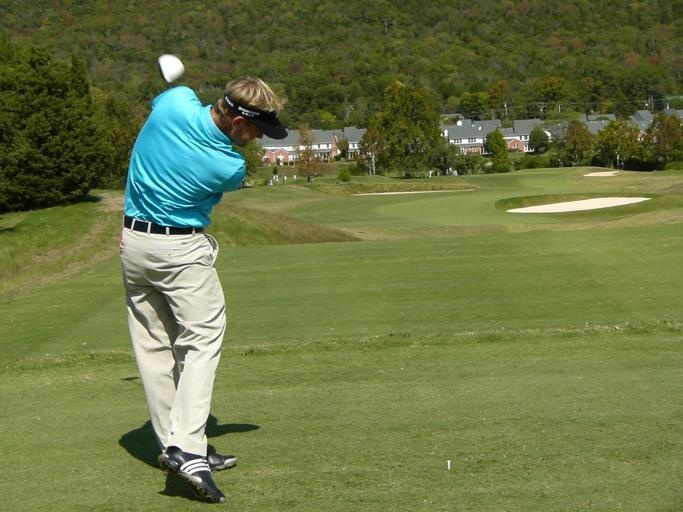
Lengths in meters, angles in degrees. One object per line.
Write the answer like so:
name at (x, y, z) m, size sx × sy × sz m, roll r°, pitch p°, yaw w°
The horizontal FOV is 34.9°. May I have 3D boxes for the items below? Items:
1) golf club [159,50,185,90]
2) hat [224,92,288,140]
golf club at (-2.947, -3.219, 18.604) m, size 0.390 × 0.519 × 0.185 m, roll -38°, pitch -8°, yaw -17°
hat at (-1.441, -2.457, 18.620) m, size 1.480 × 0.377 × 0.929 m, roll 16°, pitch 18°, yaw -9°
